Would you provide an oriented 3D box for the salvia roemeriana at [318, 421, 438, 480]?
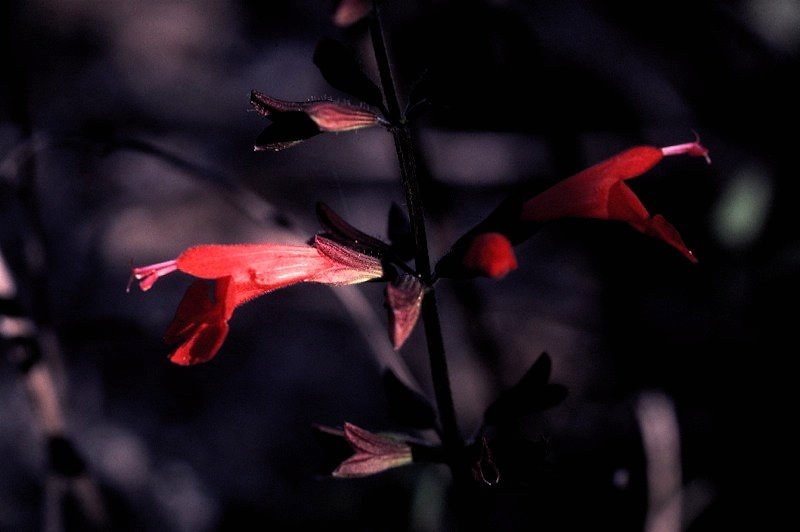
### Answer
[{"bbox_3d":[-0.056,0.365,1.891,0.184,0.061,0.138,15,14,-17],"label":"salvia roemeriana"}]

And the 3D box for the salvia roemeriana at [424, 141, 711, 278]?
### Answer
[{"bbox_3d":[0.318,-0.107,1.859,0.594,0.218,0.229,-14,2,2],"label":"salvia roemeriana"}]

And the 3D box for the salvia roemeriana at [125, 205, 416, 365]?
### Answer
[{"bbox_3d":[-0.252,0.033,1.823,0.439,0.173,0.376,-9,25,-1],"label":"salvia roemeriana"}]
